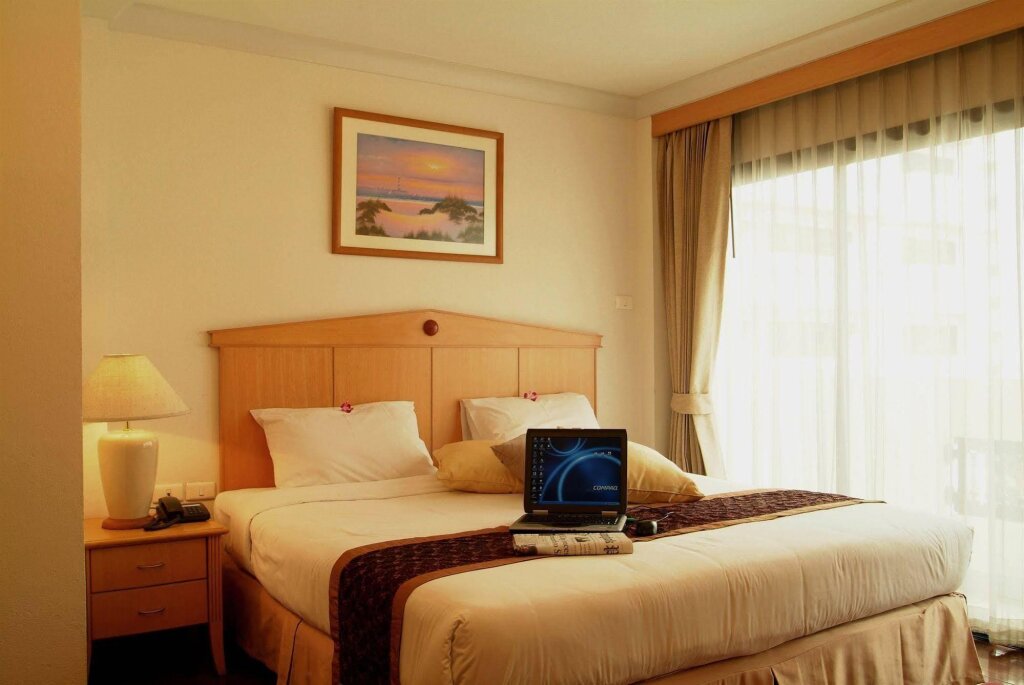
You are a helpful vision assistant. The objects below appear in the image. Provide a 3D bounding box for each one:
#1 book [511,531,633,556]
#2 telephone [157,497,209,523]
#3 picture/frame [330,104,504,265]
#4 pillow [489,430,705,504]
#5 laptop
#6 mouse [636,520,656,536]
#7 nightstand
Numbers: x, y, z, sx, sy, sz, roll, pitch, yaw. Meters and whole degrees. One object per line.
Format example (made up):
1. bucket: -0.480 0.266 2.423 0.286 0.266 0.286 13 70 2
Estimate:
1. book: 0.252 0.813 3.080 0.303 0.041 0.172 2 -4 -2
2. telephone: -1.664 0.840 3.816 0.159 0.063 0.168 11 -5 45
3. picture/frame: -0.643 -0.999 4.805 1.151 0.802 0.039 4 -6 -29
4. pillow: 0.622 0.674 3.984 0.603 0.175 0.545 25 -7 -37
5. laptop: 0.301 0.593 3.512 0.526 0.412 0.426 0 -4 6
6. mouse: 0.590 0.801 3.307 0.059 0.031 0.070 -3 1 6
7. nightstand: -1.685 1.109 3.992 1.003 0.924 0.854 2 -8 -30
